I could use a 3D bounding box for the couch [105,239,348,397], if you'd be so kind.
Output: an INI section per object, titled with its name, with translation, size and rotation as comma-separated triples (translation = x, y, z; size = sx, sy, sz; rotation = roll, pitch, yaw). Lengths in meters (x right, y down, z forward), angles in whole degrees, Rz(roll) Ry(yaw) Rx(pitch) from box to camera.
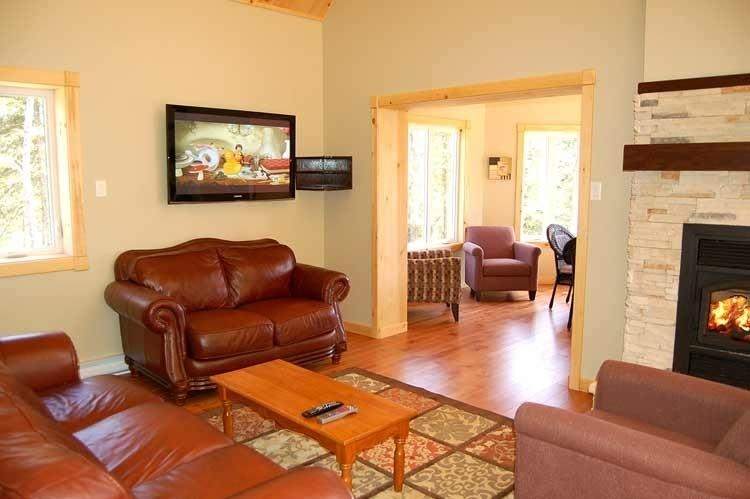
[couch]
translation = -1.329, 0.592, 5.097
size = 1.219, 1.145, 2.158
rotation = 14, 14, 42

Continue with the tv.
[tv]
translation = -1.562, -1.012, 5.408
size = 1.245, 0.786, 0.097
rotation = -3, 6, -40

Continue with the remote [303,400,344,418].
[remote]
translation = -0.324, 0.991, 3.223
size = 0.258, 0.056, 0.083
rotation = -6, 8, -39
